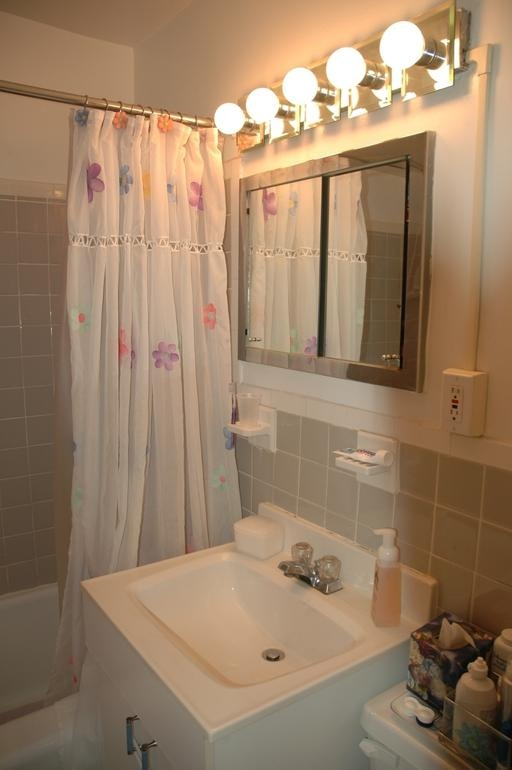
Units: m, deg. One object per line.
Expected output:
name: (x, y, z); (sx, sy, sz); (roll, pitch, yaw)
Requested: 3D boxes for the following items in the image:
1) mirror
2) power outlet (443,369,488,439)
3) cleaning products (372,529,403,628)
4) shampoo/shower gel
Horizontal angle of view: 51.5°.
mirror: (0.183, -0.281, 1.166); (0.022, 0.515, 0.521); (-6, 11, -28)
power outlet: (0.351, 0.033, 0.895); (0.049, 0.118, 0.067); (-4, 4, -30)
cleaning products: (0.252, 0.384, 1.021); (0.057, 0.191, 0.078); (-3, 6, -34)
shampoo/shower gel: (0.302, 0.462, 0.740); (0.035, 0.148, 0.059); (-2, 16, -19)
